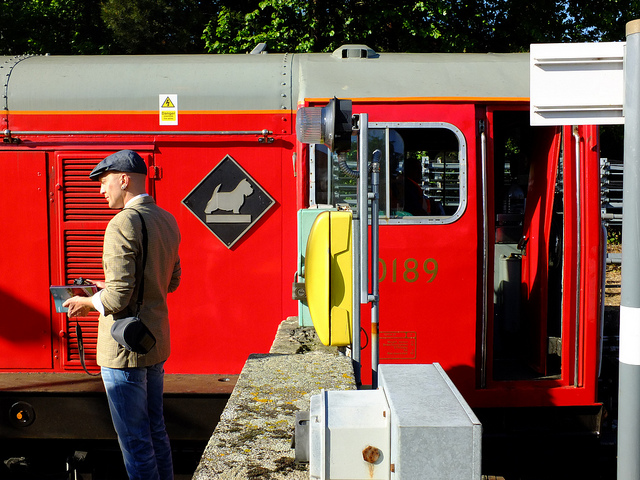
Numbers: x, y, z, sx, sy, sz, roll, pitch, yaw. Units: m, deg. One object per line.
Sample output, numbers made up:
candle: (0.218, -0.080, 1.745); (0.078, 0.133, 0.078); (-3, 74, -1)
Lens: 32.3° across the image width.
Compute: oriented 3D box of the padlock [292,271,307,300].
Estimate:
padlock: (-0.215, 0.439, 10.267); (0.117, 0.241, 0.365); (-2, 5, -7)

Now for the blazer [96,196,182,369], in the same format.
blazer: (-1.554, 0.378, 9.526); (0.797, 1.480, 0.328); (-5, 5, -38)

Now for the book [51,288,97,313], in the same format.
book: (-2.169, 0.516, 9.467); (0.268, 0.281, 0.068); (2, 5, -5)
